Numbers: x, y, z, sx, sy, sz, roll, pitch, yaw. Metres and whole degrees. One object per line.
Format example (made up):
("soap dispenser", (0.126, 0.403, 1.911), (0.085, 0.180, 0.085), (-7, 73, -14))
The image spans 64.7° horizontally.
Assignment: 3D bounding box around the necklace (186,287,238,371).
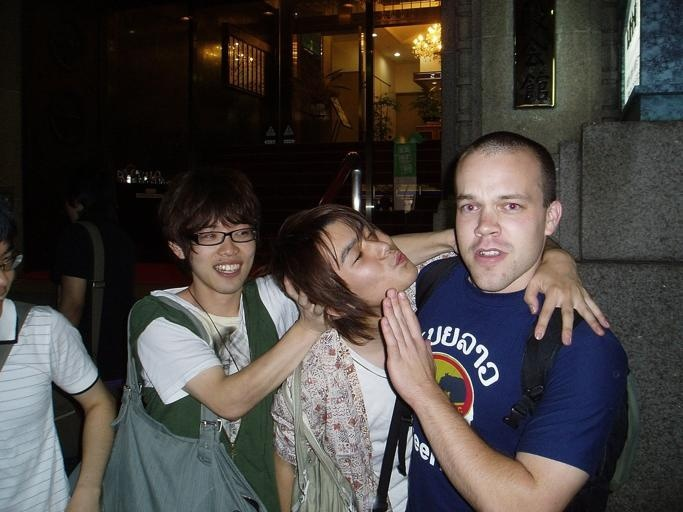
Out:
("necklace", (-0.655, 0.355, 2.746), (0.149, 0.555, 0.027), (-17, -20, -46))
